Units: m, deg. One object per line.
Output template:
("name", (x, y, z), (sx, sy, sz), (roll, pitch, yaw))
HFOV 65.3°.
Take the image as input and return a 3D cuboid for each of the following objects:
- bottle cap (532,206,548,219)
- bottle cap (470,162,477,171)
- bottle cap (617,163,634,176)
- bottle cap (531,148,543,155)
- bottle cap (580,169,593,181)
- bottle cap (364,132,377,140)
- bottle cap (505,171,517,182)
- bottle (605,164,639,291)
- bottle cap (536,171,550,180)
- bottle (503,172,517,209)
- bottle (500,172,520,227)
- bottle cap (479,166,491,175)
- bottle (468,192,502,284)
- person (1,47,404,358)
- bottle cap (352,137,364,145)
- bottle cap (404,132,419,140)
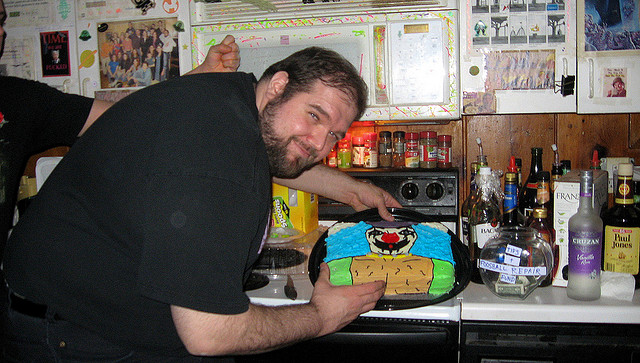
("bottle cap", (0.971, 0.139, 2.197), (0.055, 0.042, 0.053), (-4, 4, -32))
("bottle cap", (0.768, -0.075, 2.491), (0.032, 0.036, 0.055), (1, 4, 19))
("bottle cap", (1.305, -0.049, 2.123), (0.054, 0.045, 0.051), (-2, 5, -15))
("bottle cap", (1.150, -0.161, 2.640), (0.044, 0.038, 0.043), (-5, 7, -44))
("bottle cap", (1.106, -0.028, 2.080), (0.047, 0.040, 0.045), (-9, 14, -26))
("bottle cap", (0.338, -0.305, 3.350), (0.074, 0.045, 0.086), (2, 7, 24))
("bottle cap", (0.868, -0.021, 2.271), (0.046, 0.038, 0.043), (-2, 5, -12))
("bottle", (1.324, 0.200, 2.162), (0.147, 0.550, 0.053), (-1, 5, 2))
("bottle cap", (1.018, -0.026, 2.265), (0.043, 0.026, 0.042), (-6, 7, -33))
("bottle", (0.882, 0.010, 2.308), (0.047, 0.111, 0.082), (1, 6, 20))
("bottle", (0.862, 0.083, 2.259), (0.067, 0.244, 0.201), (1, 6, 21))
("bottle cap", (0.759, -0.048, 2.283), (0.052, 0.035, 0.036), (-1, 6, 3))
("bottle", (0.750, 0.258, 2.265), (0.150, 0.412, 0.205), (0, 6, 17))
("person", (-0.555, 0.110, 1.986), (1.539, 1.303, 0.490), (-1, 5, 0))
("bottle cap", (0.246, -0.273, 3.335), (0.055, 0.030, 0.053), (-5, 13, -22))
("bottle cap", (0.609, -0.305, 3.312), (0.062, 0.030, 0.059), (-1, 10, -8))
